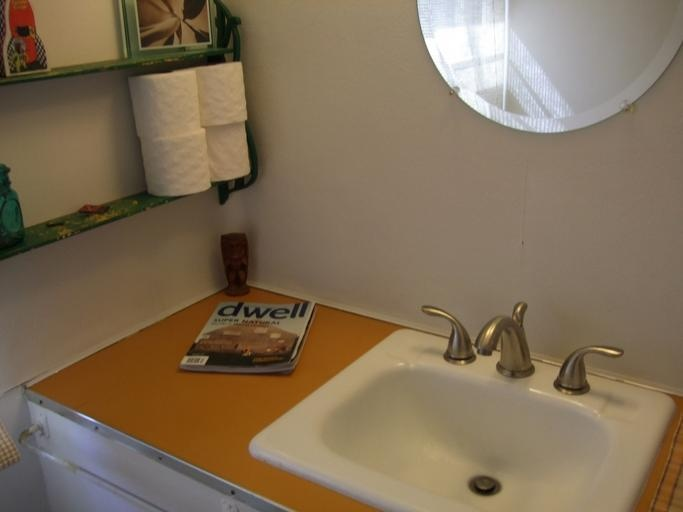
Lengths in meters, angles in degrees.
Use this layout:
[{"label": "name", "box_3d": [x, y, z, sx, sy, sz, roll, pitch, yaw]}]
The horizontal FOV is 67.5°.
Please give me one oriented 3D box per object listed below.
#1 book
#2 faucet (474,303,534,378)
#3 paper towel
[{"label": "book", "box_3d": [-0.226, 0.210, 1.281, 0.171, 0.200, 0.039, 2, -59, 10]}, {"label": "faucet", "box_3d": [0.354, 0.184, 1.094, 0.080, 0.179, 0.168, 8, -68, 43]}, {"label": "paper towel", "box_3d": [-0.382, -0.318, 1.245, 0.139, 0.254, 0.258, 11, -66, 34]}]
